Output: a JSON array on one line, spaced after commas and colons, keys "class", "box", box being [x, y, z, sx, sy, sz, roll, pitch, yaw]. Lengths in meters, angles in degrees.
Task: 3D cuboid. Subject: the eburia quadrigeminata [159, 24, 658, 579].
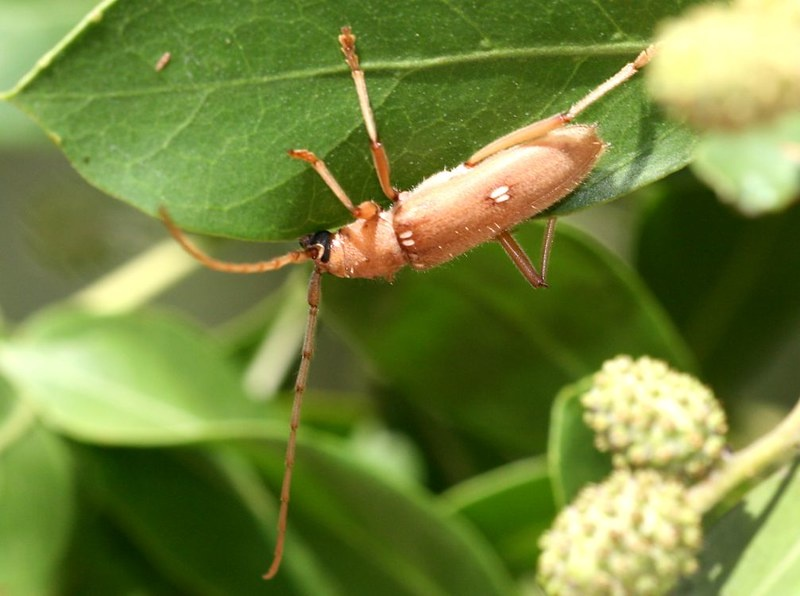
[{"class": "eburia quadrigeminata", "box": [0.276, -0.587, 4.990, 2.135, 1.596, 0.469, -15, 18, 5]}]

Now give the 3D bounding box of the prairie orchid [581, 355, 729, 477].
[{"class": "prairie orchid", "box": [1.219, 0.581, 4.383, 0.634, 0.569, 0.349, -13, 19, 10]}]
